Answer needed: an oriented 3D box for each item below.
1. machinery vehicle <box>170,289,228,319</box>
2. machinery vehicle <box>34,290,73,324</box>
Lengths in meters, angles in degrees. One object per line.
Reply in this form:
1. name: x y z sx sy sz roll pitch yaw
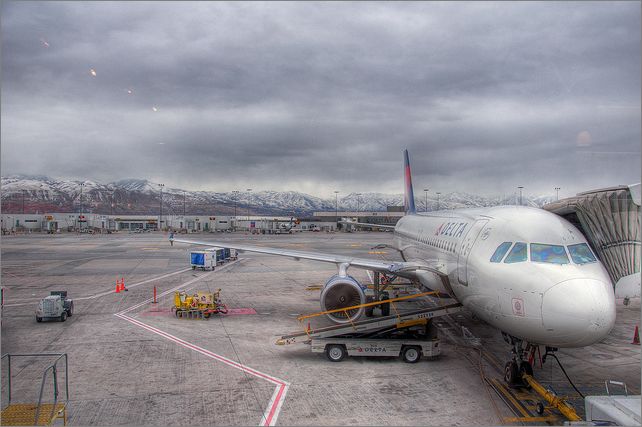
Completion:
1. machinery vehicle: -8.796 6.585 31.901 3.271 1.274 2.186 1 -4 2
2. machinery vehicle: -18.417 6.617 30.696 1.760 1.793 1.687 -1 9 -8
